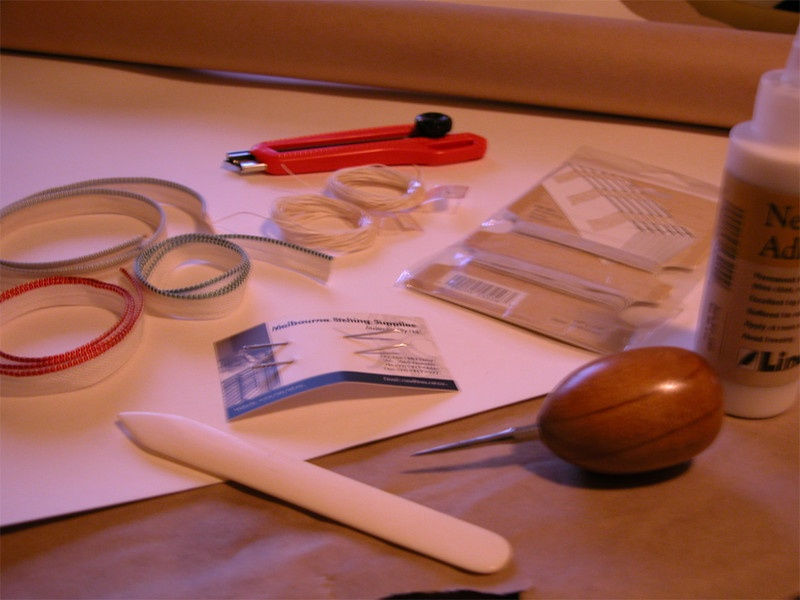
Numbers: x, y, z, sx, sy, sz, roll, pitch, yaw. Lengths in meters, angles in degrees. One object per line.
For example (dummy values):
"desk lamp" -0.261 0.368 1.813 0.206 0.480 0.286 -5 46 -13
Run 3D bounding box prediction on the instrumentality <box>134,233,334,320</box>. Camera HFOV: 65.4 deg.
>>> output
"instrumentality" -0.186 -0.028 0.711 0.199 0.044 0.103 -2 33 -12

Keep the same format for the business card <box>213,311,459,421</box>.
"business card" -0.068 0.055 0.608 0.224 0.030 0.116 -8 43 -8

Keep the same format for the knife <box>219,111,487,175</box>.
"knife" -0.066 -0.226 0.967 0.392 0.049 0.138 -5 30 -9

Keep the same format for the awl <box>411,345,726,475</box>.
"awl" 0.128 0.085 0.473 0.190 0.070 0.062 -10 61 3

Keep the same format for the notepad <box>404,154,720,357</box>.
"notepad" 0.254 -0.088 0.798 0.277 0.031 0.448 26 48 26
